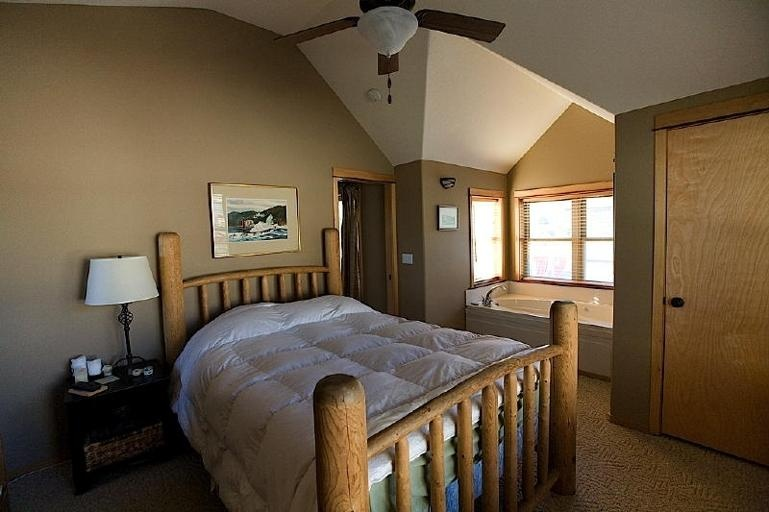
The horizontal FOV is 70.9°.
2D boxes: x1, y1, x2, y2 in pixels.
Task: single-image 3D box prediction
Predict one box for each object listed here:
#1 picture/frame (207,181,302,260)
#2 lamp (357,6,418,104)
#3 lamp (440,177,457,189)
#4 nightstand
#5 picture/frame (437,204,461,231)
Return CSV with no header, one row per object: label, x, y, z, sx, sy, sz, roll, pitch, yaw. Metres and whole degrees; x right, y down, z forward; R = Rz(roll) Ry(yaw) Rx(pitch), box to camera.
picture/frame,-1.293,-0.345,5.217,0.736,0.582,0.030,-4,4,-42
lamp,0.093,-1.412,3.878,0.502,0.627,0.534,0,9,27
lamp,0.716,-0.827,6.141,0.138,0.057,0.137,2,-5,-39
nightstand,-2.244,1.259,4.698,0.995,0.969,0.789,-12,9,-37
picture/frame,0.727,-0.441,6.221,0.023,0.232,0.307,4,5,44
